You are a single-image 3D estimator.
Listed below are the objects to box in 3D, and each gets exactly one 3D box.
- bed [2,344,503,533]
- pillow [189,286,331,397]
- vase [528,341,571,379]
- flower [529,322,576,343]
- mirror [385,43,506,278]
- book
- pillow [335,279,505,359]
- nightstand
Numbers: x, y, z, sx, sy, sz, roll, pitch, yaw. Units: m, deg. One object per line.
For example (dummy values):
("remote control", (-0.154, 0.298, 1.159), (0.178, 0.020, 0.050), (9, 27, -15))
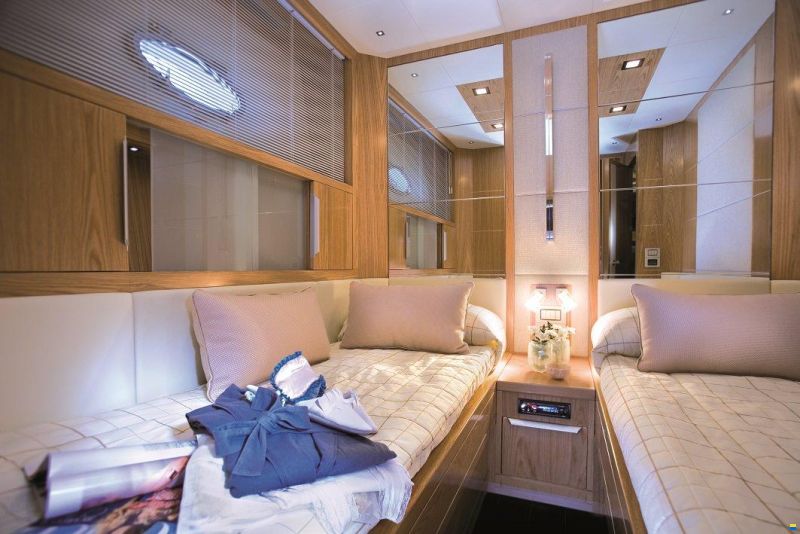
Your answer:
("bed", (-0.418, 0.752, 2.396), (2.368, 0.389, 1.060), (-5, 2, -38))
("pillow", (-0.753, 0.399, 2.578), (0.189, 0.335, 0.534), (-7, -5, 39))
("vase", (0.956, 0.578, 3.252), (0.240, 0.230, 0.238), (0, 1, -19))
("flower", (0.997, 0.433, 3.294), (0.255, 0.110, 0.174), (-3, 2, 12))
("mirror", (0.364, -0.788, 3.947), (0.941, 1.739, 0.150), (-2, 3, 26))
("book", (-1.008, 0.697, 1.717), (0.577, 0.258, 0.221), (-1, 37, -19))
("pillow", (0.079, 0.327, 3.252), (0.643, 0.196, 0.663), (-1, 38, 6))
("nightstand", (0.904, 1.022, 3.270), (0.538, 0.637, 0.730), (0, -1, 15))
